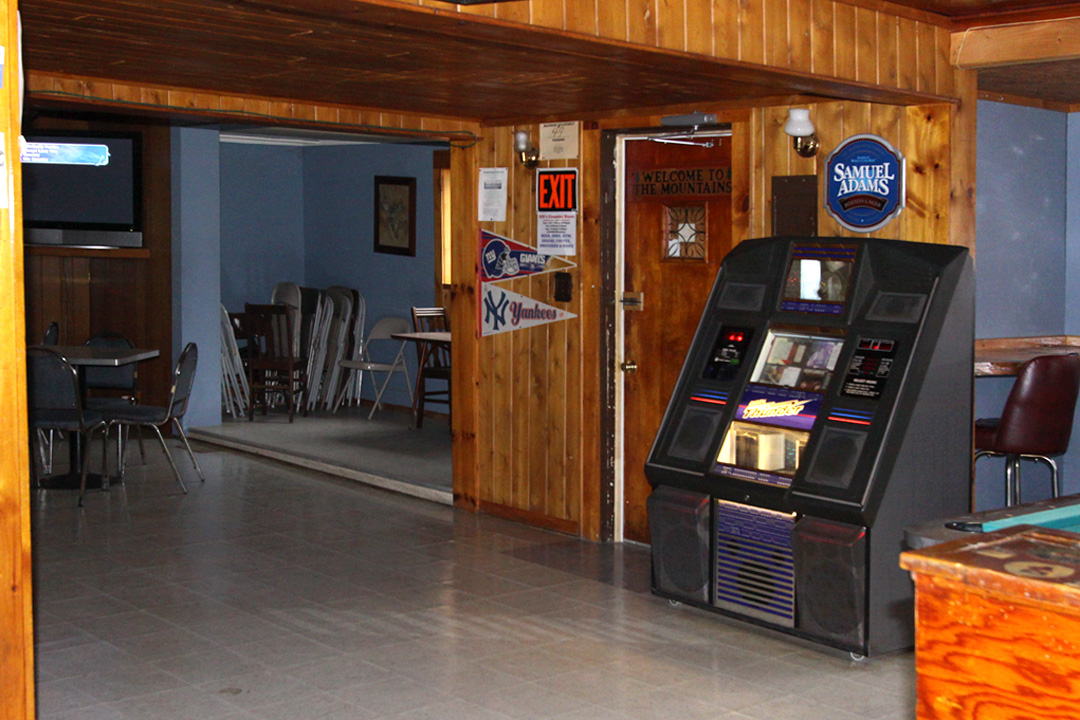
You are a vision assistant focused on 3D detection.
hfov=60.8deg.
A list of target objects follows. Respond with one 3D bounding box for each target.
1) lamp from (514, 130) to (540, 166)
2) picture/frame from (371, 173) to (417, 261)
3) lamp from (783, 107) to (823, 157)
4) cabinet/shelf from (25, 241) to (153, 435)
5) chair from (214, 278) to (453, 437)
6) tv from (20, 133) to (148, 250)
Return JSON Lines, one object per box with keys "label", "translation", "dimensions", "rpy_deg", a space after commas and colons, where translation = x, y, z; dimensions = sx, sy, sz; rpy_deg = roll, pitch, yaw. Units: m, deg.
{"label": "lamp", "translation": [-0.092, -1.594, 6.959], "dimensions": [0.166, 0.281, 0.080], "rpy_deg": [0, 7, -5]}
{"label": "picture/frame", "translation": [-1.941, -1.942, 12.434], "dimensions": [0.098, 1.175, 1.205], "rpy_deg": [-4, 8, -37]}
{"label": "lamp", "translation": [1.634, -1.417, 5.749], "dimensions": [0.210, 0.309, 0.163], "rpy_deg": [2, 7, 18]}
{"label": "cabinet/shelf", "translation": [-5.142, -0.526, 10.819], "dimensions": [1.644, 1.551, 0.550], "rpy_deg": [3, 5, 15]}
{"label": "chair", "translation": [-2.614, 0.026, 11.815], "dimensions": [2.043, 1.364, 0.738], "rpy_deg": [0, -1, 16]}
{"label": "tv", "translation": [-5.146, -1.892, 10.370], "dimensions": [1.237, 1.251, 0.200], "rpy_deg": [-1, 7, -11]}
